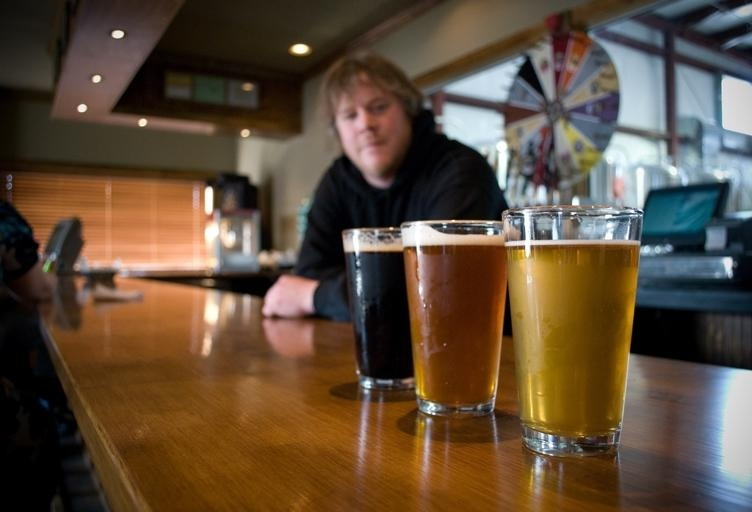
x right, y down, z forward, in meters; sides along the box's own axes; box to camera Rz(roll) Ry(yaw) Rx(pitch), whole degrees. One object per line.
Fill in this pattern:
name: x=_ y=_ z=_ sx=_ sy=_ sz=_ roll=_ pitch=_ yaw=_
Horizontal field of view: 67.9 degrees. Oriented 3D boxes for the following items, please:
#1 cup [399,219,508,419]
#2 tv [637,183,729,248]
cup: x=0.090 y=0.070 z=0.647 sx=0.121 sy=0.220 sz=0.069 roll=0 pitch=3 yaw=1
tv: x=1.352 y=-0.165 z=2.523 sx=0.224 sy=0.282 sz=0.410 roll=-27 pitch=16 yaw=-23
